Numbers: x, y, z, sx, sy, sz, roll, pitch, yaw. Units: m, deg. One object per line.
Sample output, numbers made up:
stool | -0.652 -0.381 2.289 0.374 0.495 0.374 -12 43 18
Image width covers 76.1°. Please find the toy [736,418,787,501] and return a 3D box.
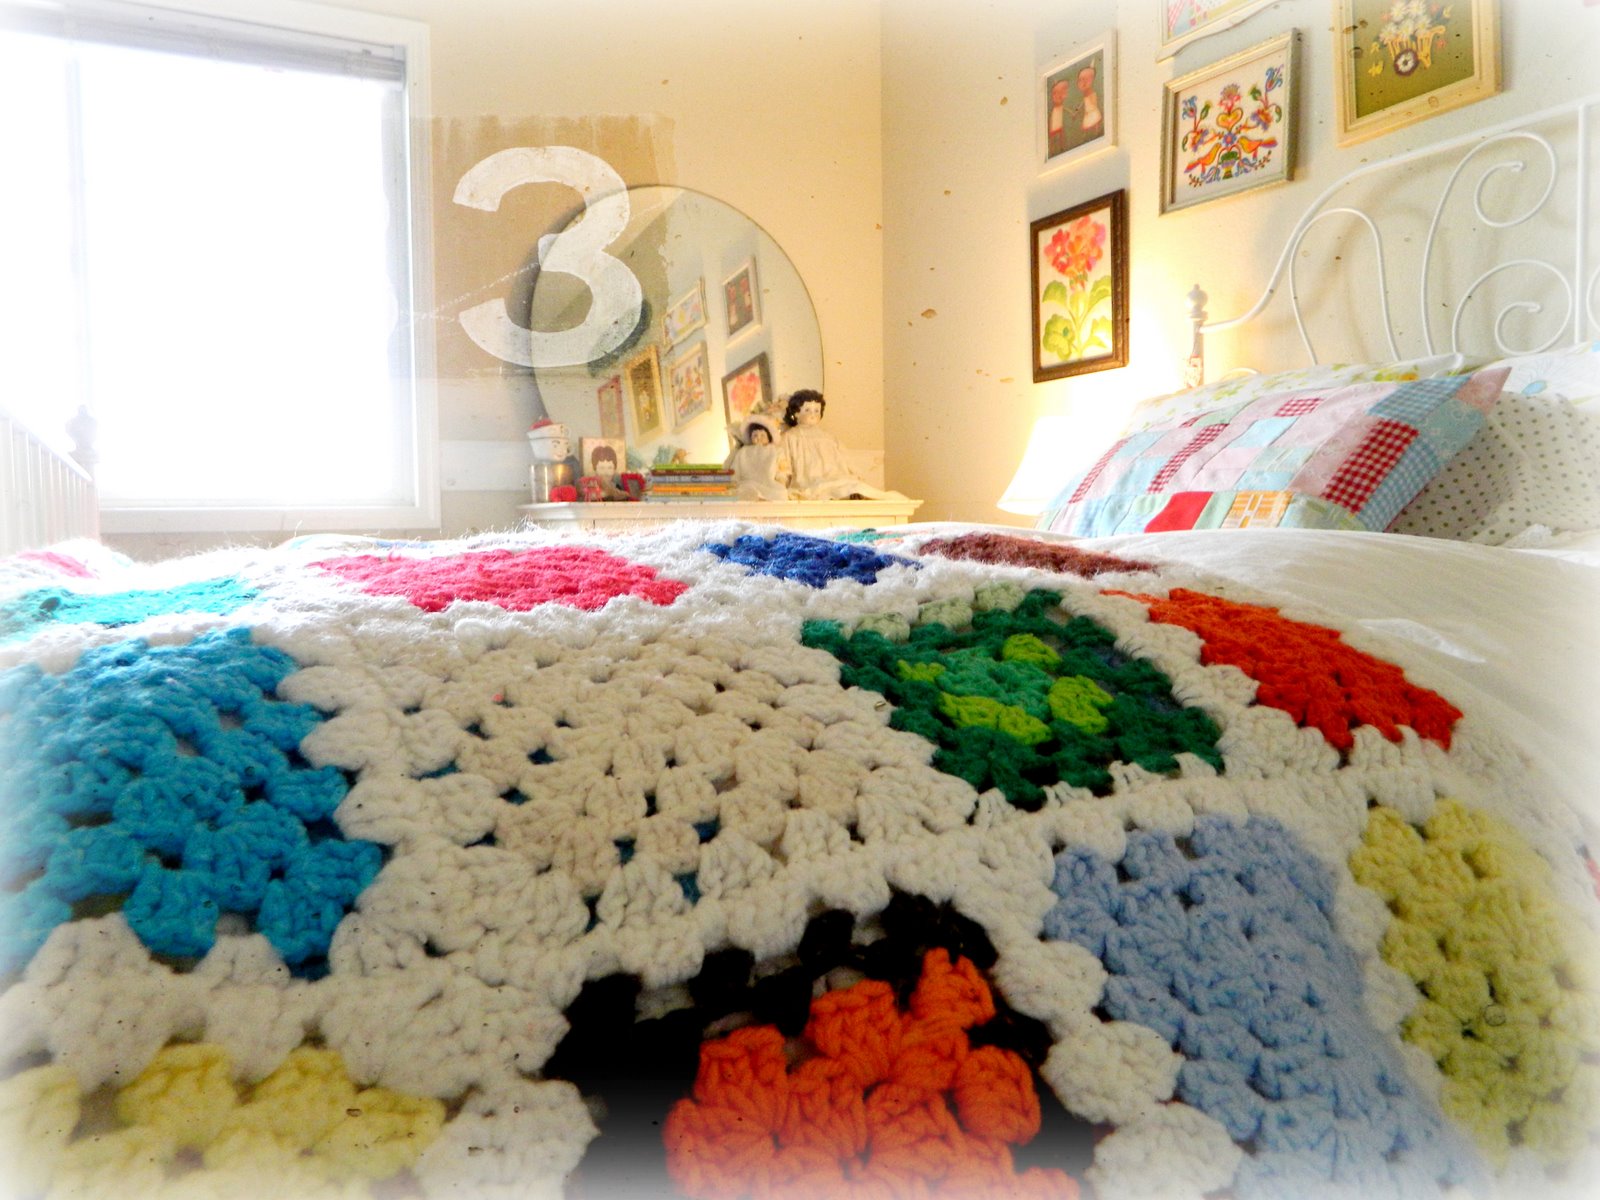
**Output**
toy | -0.148 -0.455 3.398 0.161 0.274 0.098 0 -26 1

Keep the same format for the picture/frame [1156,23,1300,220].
picture/frame | 1.019 -1.129 2.443 0.041 0.314 0.370 -9 12 -25

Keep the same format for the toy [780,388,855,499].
toy | 0.066 -0.541 3.529 0.216 0.256 0.518 -7 34 -17

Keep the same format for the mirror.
mirror | -0.443 -0.831 3.511 1.152 1.156 0.021 -18 34 -32
